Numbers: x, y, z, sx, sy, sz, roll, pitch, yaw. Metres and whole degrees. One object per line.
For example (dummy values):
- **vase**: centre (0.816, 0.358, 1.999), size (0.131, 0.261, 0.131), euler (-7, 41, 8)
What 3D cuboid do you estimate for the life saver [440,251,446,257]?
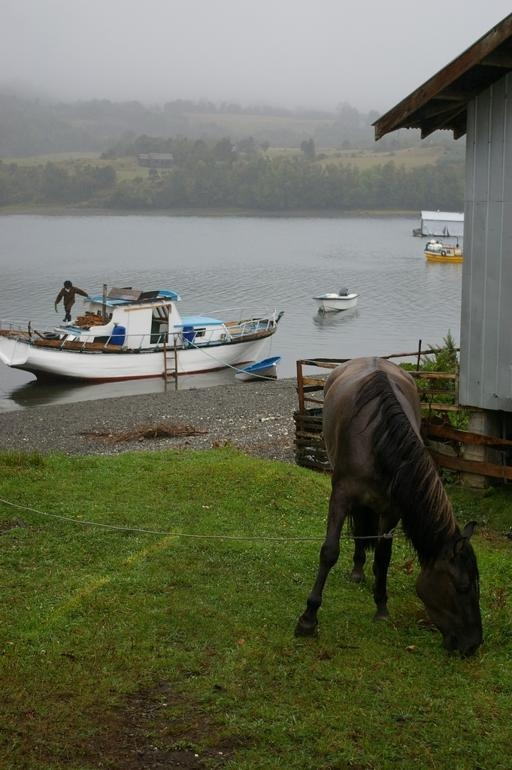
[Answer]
- **life saver**: centre (25.819, -18.252, 111.598), size (0.533, 0.751, 0.889), euler (5, 9, 0)

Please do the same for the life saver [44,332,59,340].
- **life saver**: centre (-8.649, -2.067, 34.095), size (0.402, 0.177, 0.519), euler (1, 0, -6)
